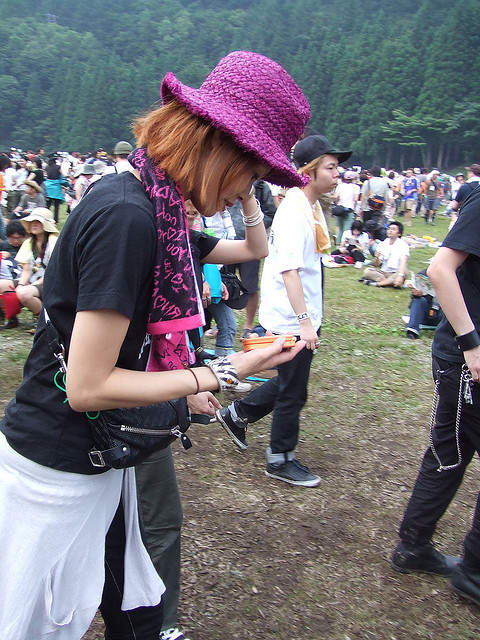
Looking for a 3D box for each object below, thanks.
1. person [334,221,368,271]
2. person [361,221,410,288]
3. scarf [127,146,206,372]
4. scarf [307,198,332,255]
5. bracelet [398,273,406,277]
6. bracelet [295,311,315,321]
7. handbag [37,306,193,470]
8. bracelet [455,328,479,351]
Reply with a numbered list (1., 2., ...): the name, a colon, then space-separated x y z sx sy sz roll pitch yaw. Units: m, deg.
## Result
1. person: 2.568 -1.814 12.214 0.881 0.974 1.124 5 19 9
2. person: 2.958 -1.341 10.452 0.984 1.221 1.048 2 21 24
3. scarf: -0.162 -0.123 1.161 0.178 0.516 0.231 2 13 -13
4. scarf: 0.499 -0.587 3.260 0.177 0.340 0.293 6 13 6
5. bracelet: 3.241 -0.896 10.309 0.093 0.054 0.089 0 12 -32
6. bracelet: 0.369 -0.021 3.001 0.059 0.014 0.058 -24 -8 28
7. handbag: -0.204 0.166 1.354 0.379 0.412 0.323 -16 -16 20
8. bracelet: 0.920 0.078 2.089 0.091 0.060 0.085 -9 -1 18
